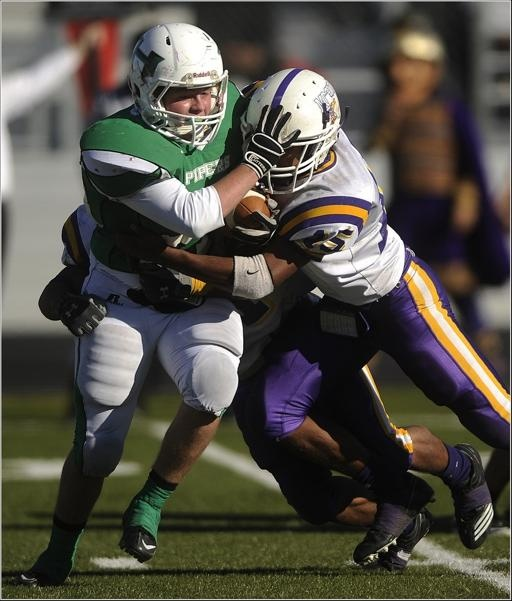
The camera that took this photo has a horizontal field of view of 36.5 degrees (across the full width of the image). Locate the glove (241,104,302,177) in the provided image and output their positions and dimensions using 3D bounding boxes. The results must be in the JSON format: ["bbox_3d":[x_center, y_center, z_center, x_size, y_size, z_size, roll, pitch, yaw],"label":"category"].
[{"bbox_3d":[0.038,-0.383,1.940,0.168,0.170,0.173,4,1,5],"label":"glove"}]

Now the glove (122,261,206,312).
[{"bbox_3d":[-0.221,-0.027,1.942,0.172,0.062,0.151,15,0,2],"label":"glove"}]

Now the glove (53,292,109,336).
[{"bbox_3d":[-0.452,0.039,2.011,0.129,0.059,0.090,28,74,40],"label":"glove"}]

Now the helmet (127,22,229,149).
[{"bbox_3d":[-0.193,-0.530,1.933,0.245,0.284,0.205,4,27,-9],"label":"helmet"}]

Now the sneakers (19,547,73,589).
[{"bbox_3d":[-0.564,0.705,2.041,0.127,0.096,0.085,11,26,6],"label":"sneakers"}]

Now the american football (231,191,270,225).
[{"bbox_3d":[-0.002,-0.230,1.977,0.087,0.083,0.099,18,27,19],"label":"american football"}]
